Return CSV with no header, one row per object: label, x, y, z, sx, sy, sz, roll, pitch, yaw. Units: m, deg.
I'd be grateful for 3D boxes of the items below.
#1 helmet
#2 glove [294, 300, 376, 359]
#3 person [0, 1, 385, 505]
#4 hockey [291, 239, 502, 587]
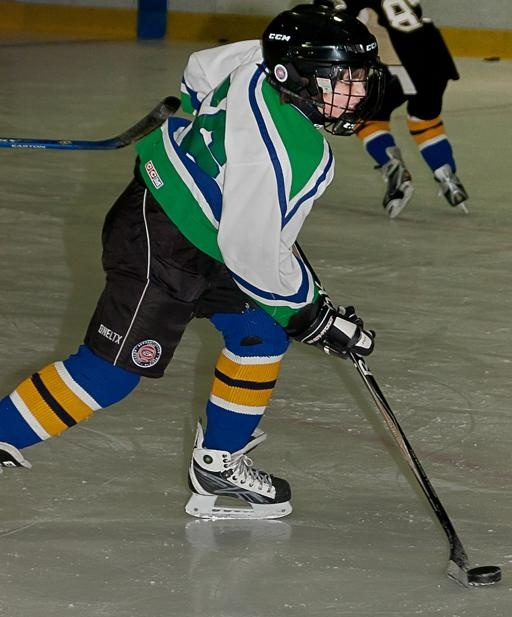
helmet,0.117,-0.471,1.345,0.236,0.146,0.177,7,23,9
glove,0.153,0.043,1.516,0.181,0.070,0.097,18,72,-18
person,-0.051,-0.043,1.478,0.626,1.082,0.699,21,34,7
hockey,0.373,0.276,1.897,0.157,0.117,0.871,-5,62,-37
